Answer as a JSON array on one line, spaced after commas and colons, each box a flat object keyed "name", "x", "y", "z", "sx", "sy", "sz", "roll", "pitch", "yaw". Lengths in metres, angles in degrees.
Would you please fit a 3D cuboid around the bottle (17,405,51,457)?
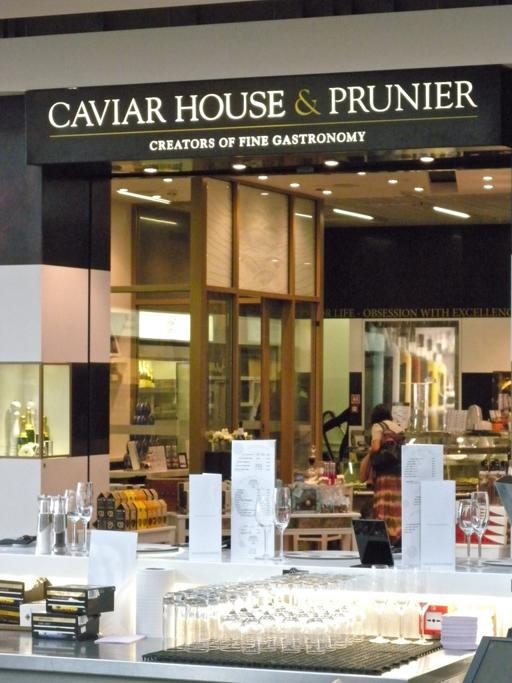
[{"name": "bottle", "x": -1.350, "y": 0.543, "z": 6.320, "sx": 0.213, "sy": 0.312, "sz": 0.172, "roll": 0, "pitch": -5, "yaw": -16}]

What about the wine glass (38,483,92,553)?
[{"name": "wine glass", "x": -0.787, "y": 0.724, "z": 4.262, "sx": 0.225, "sy": 0.273, "sz": 0.324, "roll": 0, "pitch": -6, "yaw": -13}]

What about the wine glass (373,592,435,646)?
[{"name": "wine glass", "x": 0.473, "y": 0.878, "z": 3.332, "sx": 0.192, "sy": 0.227, "sz": 0.116, "roll": 0, "pitch": -6, "yaw": -1}]

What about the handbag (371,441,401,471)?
[{"name": "handbag", "x": 0.859, "y": 0.768, "z": 6.919, "sx": 0.207, "sy": 0.246, "sz": 0.129, "roll": 1, "pitch": -13, "yaw": 2}]

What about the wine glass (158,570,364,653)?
[{"name": "wine glass", "x": 0.003, "y": 0.832, "z": 3.182, "sx": 0.598, "sy": 0.194, "sz": 0.193, "roll": -2, "pitch": -5, "yaw": 2}]
